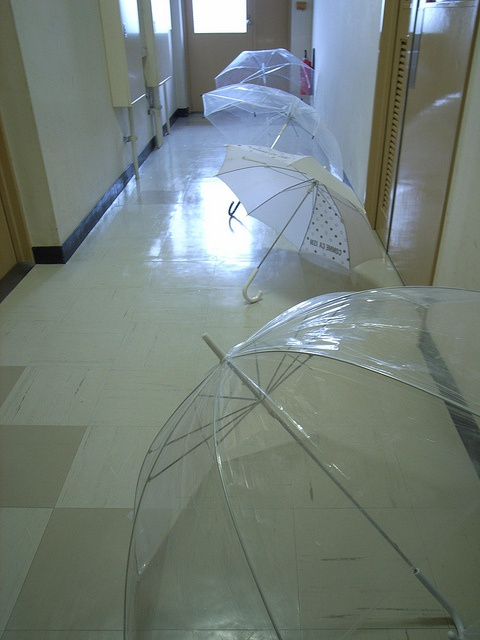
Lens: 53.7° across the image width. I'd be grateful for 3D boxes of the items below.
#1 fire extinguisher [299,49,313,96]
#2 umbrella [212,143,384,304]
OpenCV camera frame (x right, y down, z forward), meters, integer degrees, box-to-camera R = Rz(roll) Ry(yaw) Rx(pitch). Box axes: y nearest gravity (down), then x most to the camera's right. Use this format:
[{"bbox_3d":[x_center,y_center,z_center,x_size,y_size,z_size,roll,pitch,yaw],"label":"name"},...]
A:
[{"bbox_3d":[0.589,-2.249,4.315,0.118,0.416,0.126,1,4,8],"label":"fire extinguisher"},{"bbox_3d":[0.269,-0.508,2.383,0.865,0.684,0.682,15,31,27],"label":"umbrella"}]
